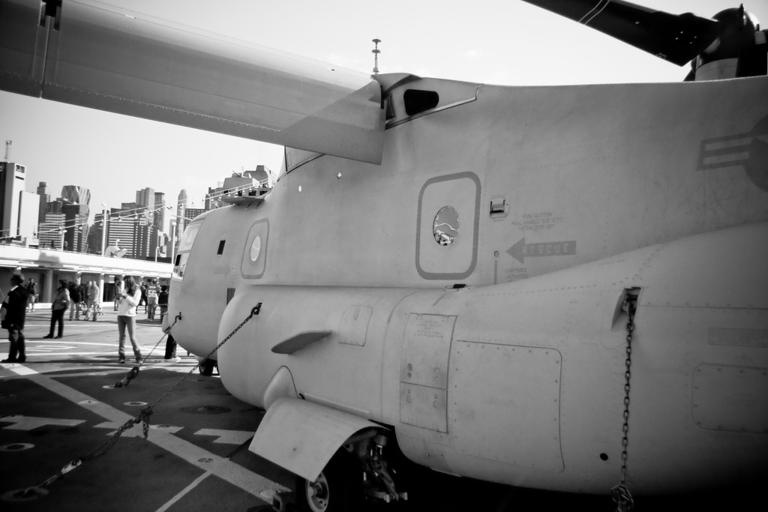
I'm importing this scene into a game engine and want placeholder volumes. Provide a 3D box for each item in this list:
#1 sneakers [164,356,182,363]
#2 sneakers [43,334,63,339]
[{"bbox_3d":[-4.847,2.386,14.175,0.360,0.162,0.137,-1,-1,30],"label":"sneakers"},{"bbox_3d":[-9.194,2.234,17.095,0.312,0.140,0.100,12,-10,-5],"label":"sneakers"}]
